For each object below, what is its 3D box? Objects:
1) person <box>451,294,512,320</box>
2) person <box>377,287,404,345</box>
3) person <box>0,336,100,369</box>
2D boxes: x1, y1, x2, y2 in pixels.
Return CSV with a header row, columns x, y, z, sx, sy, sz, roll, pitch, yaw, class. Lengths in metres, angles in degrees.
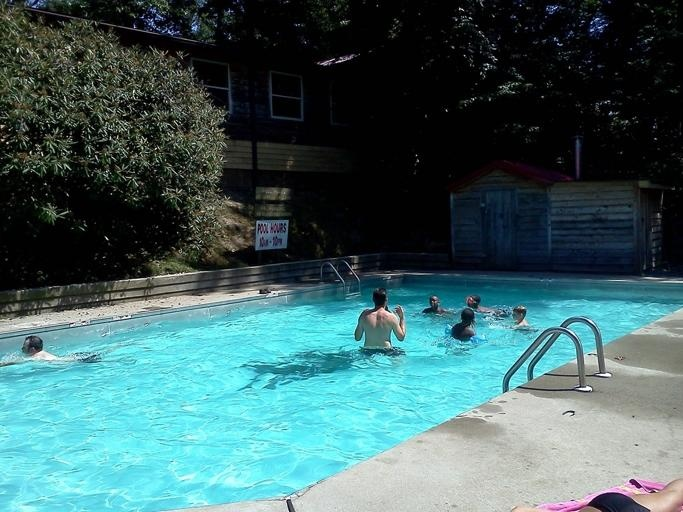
x,y,z,sx,sy,sz,roll,pitch,yaw,class
3.162,1.158,11.308,1.122,0.436,0.616,0,-10,43,person
0.824,1.054,8.620,0.524,1.119,0.761,0,9,4,person
-4.997,1.685,8.646,1.399,0.474,0.565,3,-4,-8,person
